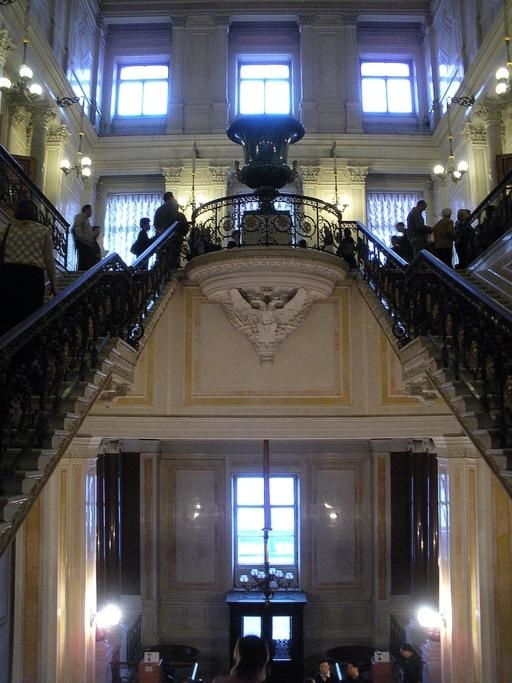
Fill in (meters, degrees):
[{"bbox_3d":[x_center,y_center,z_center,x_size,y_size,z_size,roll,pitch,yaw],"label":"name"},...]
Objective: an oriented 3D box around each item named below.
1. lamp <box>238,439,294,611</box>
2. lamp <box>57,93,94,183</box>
[{"bbox_3d":[0.161,2.935,10.652,0.817,2.365,0.853,1,-28,1],"label":"lamp"},{"bbox_3d":[-2.831,-3.269,10.512,0.413,1.175,0.405,5,8,-8],"label":"lamp"}]
